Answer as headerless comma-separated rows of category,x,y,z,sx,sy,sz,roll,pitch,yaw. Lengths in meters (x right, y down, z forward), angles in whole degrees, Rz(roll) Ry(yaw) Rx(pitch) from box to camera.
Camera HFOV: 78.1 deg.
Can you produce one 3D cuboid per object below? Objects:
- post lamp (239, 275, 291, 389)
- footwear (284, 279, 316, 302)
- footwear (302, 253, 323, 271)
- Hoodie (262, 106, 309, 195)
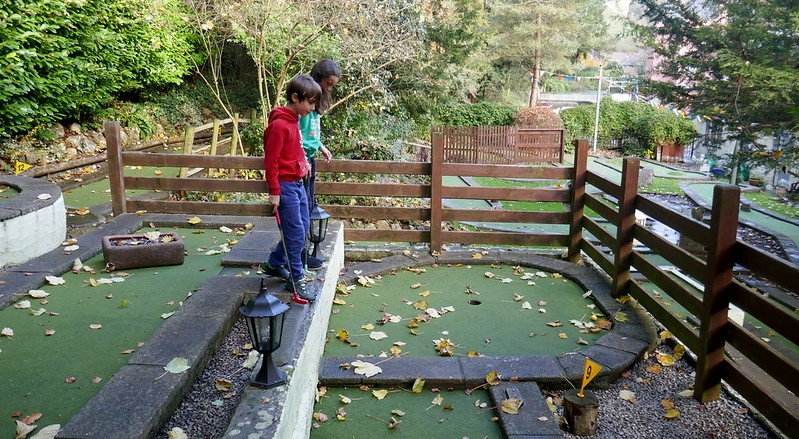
post lamp,-1.451,1.210,5.325,0.489,1.065,0.489,-2,19,0
footwear,-1.275,0.897,6.190,0.369,0.152,0.120,30,15,-5
footwear,-1.228,0.580,6.821,0.358,0.141,0.135,1,13,0
Hoodie,-1.440,-0.852,6.048,0.558,1.026,0.315,-17,24,-38
